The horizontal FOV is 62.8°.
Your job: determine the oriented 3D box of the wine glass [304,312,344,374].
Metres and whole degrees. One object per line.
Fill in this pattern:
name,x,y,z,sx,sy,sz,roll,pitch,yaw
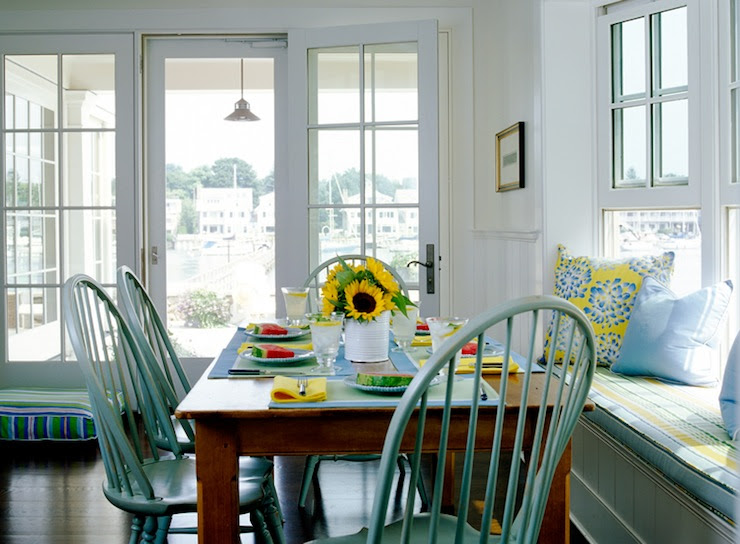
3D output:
wine glass,-0.140,0.231,1.969,0.163,0.226,0.156,2,0,11

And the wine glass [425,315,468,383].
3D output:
wine glass,0.230,0.245,1.957,0.181,0.207,0.193,0,-1,4

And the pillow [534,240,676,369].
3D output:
pillow,1.121,0.152,2.824,0.240,0.666,0.632,16,-12,-40

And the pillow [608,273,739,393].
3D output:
pillow,1.378,0.225,3.003,0.398,0.702,0.690,-3,3,-42

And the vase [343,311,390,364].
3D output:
vase,-0.032,0.232,2.205,0.209,0.172,0.166,-1,-2,6
